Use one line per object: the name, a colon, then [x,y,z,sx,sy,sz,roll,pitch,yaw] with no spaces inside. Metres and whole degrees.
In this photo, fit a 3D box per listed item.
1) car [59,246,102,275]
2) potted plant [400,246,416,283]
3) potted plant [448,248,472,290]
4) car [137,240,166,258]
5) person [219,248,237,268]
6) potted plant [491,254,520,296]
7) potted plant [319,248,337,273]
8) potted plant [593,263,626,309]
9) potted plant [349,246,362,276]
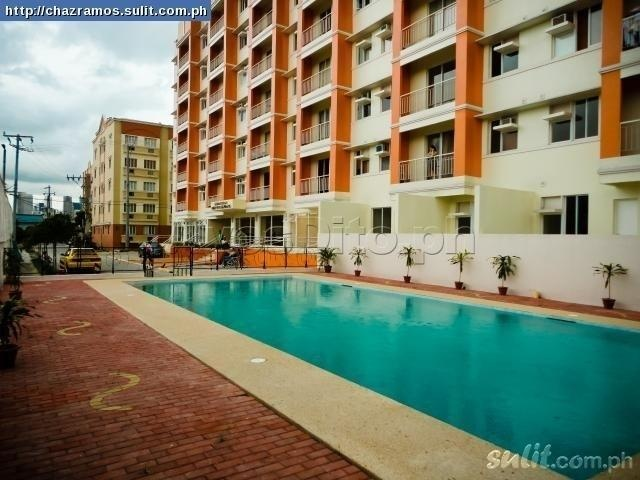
car: [-12.357,1.059,23.564,1.559,1.105,3.380,0,3,-41]
potted plant: [3.653,0.996,19.041,0.424,1.489,0.761,0,0,-17]
potted plant: [5.195,1.069,16.936,0.439,1.465,0.862,0,0,-25]
car: [-13.084,0.686,35.356,1.193,0.983,1.934,-2,8,-44]
person: [-5.236,1.074,26.956,1.408,0.866,0.862,-2,4,-37]
potted plant: [6.244,1.162,15.548,0.566,1.407,0.903,0,0,-23]
potted plant: [0.414,1.064,23.560,1.065,1.358,1.090,1,-8,-5]
potted plant: [8.293,1.282,13.050,0.416,1.412,0.846,0,0,-44]
potted plant: [1.764,0.983,21.886,0.364,1.321,1.010,0,0,-26]
